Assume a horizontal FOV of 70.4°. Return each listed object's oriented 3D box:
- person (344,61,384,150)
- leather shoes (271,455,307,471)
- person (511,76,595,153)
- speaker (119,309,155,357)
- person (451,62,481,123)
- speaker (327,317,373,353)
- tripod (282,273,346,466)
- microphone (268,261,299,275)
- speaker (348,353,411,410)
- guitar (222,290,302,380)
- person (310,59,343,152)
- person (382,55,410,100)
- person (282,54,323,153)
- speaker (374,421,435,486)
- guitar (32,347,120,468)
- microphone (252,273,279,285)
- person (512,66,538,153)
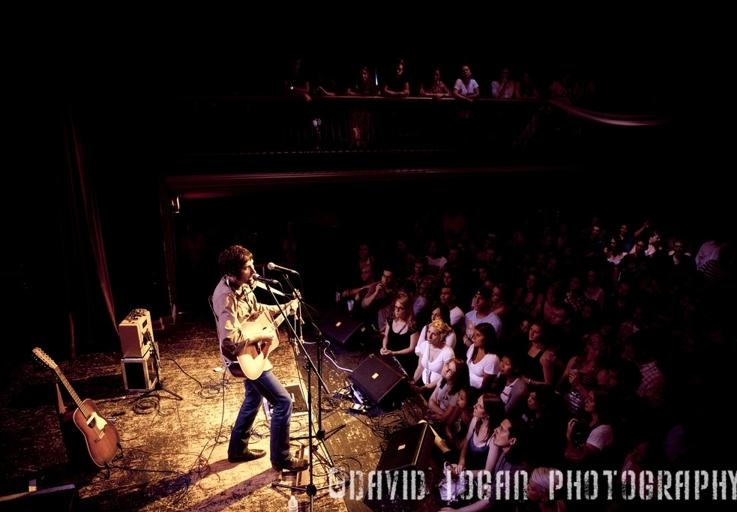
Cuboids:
[{"bbox_3d":[-0.059,-3.005,10.667,0.657,1.660,0.628,-1,16,-6],"label":"person"},{"bbox_3d":[-1.002,2.655,6.695,0.453,0.216,0.191,-2,5,-8],"label":"leather shoes"},{"bbox_3d":[4.150,-3.125,11.583,1.641,1.662,0.509,-4,16,-17],"label":"person"},{"bbox_3d":[-3.488,1.183,7.849,0.361,0.697,0.728,-3,5,-7],"label":"speaker"},{"bbox_3d":[2.059,-3.399,10.957,0.539,1.227,0.877,5,16,15],"label":"person"},{"bbox_3d":[-0.297,1.326,9.078,0.581,0.408,0.628,-8,14,-31],"label":"speaker"},{"bbox_3d":[-0.811,1.781,7.879,0.994,3.068,1.038,10,29,12],"label":"tripod"},{"bbox_3d":[-1.522,0.209,9.348,0.510,0.130,0.160,12,7,-4],"label":"microphone"},{"bbox_3d":[0.155,1.795,7.685,0.675,0.483,0.942,-36,18,-18],"label":"speaker"},{"bbox_3d":[-1.264,0.976,6.505,0.181,0.567,1.234,-26,15,39],"label":"guitar"},{"bbox_3d":[-0.856,-2.989,10.494,0.453,1.619,0.607,1,26,-2],"label":"person"},{"bbox_3d":[0.538,-3.594,10.527,0.649,0.970,0.563,-3,44,-6],"label":"person"},{"bbox_3d":[-1.211,-2.981,10.324,0.511,1.751,0.838,10,18,29],"label":"person"},{"bbox_3d":[0.469,2.490,6.600,0.670,0.336,0.917,-10,42,36],"label":"speaker"},{"bbox_3d":[-3.679,2.043,6.799,0.824,1.245,0.497,10,18,29],"label":"guitar"},{"bbox_3d":[-1.460,0.319,7.371,0.383,0.121,0.107,10,62,34],"label":"microphone"},{"bbox_3d":[3.495,-3.135,11.439,0.870,1.461,0.357,-6,24,-2],"label":"person"}]
